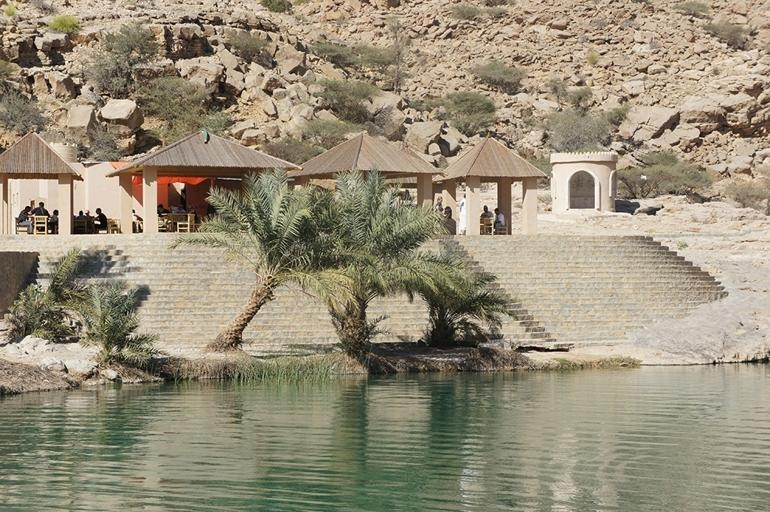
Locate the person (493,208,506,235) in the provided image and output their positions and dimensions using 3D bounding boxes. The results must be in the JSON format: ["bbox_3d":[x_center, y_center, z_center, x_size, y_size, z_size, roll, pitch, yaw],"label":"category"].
[{"bbox_3d":[5.869,-1.808,81.937,0.659,1.299,1.142,-1,2,4],"label":"person"}]

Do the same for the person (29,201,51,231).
[{"bbox_3d":[-16.661,-1.897,78.293,0.891,1.398,2.197,-2,2,-12],"label":"person"}]
